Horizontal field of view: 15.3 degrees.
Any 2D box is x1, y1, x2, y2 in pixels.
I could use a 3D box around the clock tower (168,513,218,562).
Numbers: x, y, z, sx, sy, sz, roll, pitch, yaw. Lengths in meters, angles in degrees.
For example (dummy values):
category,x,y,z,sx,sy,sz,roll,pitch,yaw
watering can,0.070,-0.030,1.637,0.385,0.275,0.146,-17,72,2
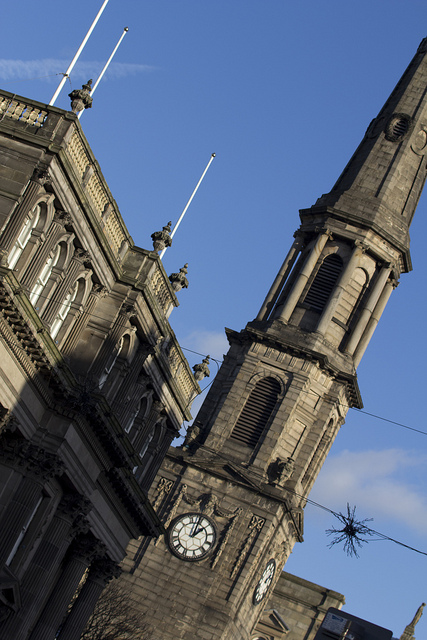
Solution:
category,x,y,z,sx,sy,sz,roll,pitch,yaw
clock tower,-1.102,12.101,88.772,2.935,3.001,0.231,-2,-38,2
